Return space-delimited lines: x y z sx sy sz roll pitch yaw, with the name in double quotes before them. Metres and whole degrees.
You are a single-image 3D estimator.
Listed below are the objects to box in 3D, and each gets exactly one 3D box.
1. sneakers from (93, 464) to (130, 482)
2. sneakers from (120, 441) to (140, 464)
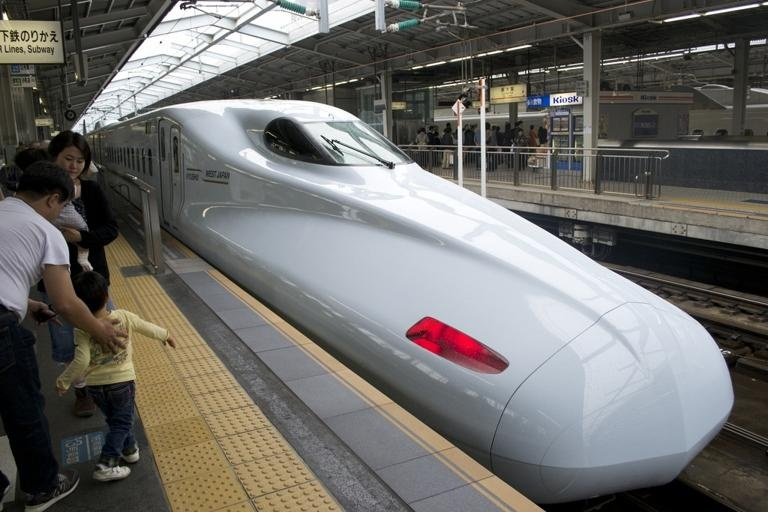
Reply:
"sneakers" -1.708 1.343 2.902 0.242 0.111 0.095 3 37 -23
"sneakers" -1.691 1.287 3.023 0.068 0.075 0.182 -1 8 -28
